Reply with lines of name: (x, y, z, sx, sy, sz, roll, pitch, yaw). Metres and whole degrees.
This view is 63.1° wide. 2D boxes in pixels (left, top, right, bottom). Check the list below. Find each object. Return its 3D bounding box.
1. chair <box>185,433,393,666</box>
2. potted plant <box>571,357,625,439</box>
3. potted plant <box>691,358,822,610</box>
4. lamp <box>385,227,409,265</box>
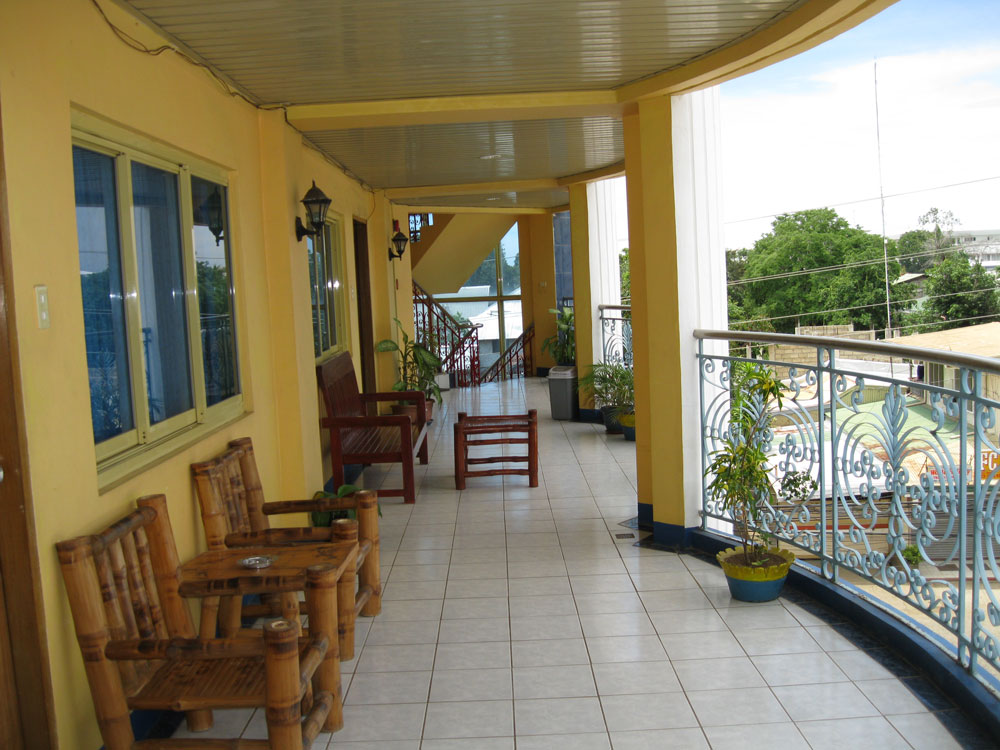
chair: (-1.059, 0.921, 4.824, 1.020, 1.370, 1.010, -2, 3, 10)
potted plant: (1.171, 0.263, 9.494, 0.648, 0.826, 0.786, -1, 6, 2)
potted plant: (1.580, 0.568, 5.053, 0.566, 1.379, 0.935, -1, 9, 8)
lamp: (-1.288, -1.642, 10.206, 0.357, 0.541, 0.398, -2, 1, -23)
